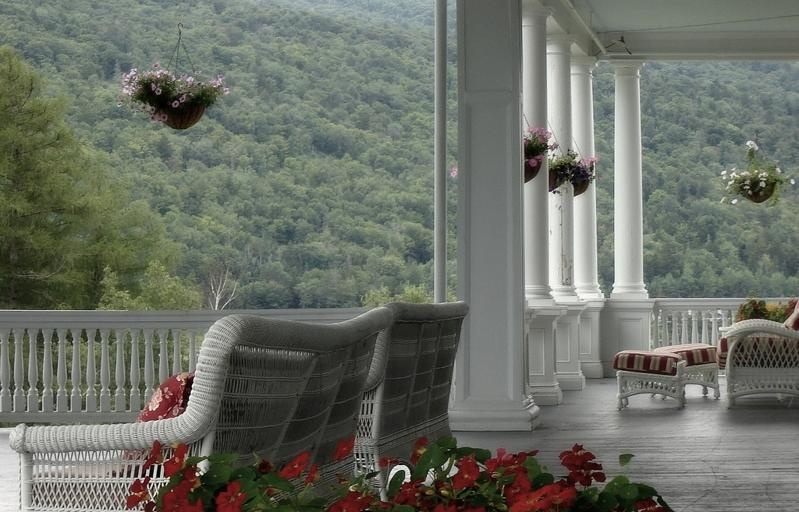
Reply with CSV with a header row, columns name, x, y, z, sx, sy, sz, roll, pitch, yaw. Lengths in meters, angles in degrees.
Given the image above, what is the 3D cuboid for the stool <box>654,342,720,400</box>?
name,x,y,z,sx,sy,sz,roll,pitch,yaw
stool,4.106,1.597,16.219,0.955,0.657,0.901,-3,4,-34

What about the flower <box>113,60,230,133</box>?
name,x,y,z,sx,sy,sz,roll,pitch,yaw
flower,-3.053,-2.217,15.059,1.376,0.618,1.117,1,0,-10

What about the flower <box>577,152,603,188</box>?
name,x,y,z,sx,sy,sz,roll,pitch,yaw
flower,2.764,-1.240,16.520,0.252,0.407,0.762,-1,-1,18

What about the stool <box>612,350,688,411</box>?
name,x,y,z,sx,sy,sz,roll,pitch,yaw
stool,3.841,1.809,15.885,1.084,0.732,1.267,11,-12,-39
